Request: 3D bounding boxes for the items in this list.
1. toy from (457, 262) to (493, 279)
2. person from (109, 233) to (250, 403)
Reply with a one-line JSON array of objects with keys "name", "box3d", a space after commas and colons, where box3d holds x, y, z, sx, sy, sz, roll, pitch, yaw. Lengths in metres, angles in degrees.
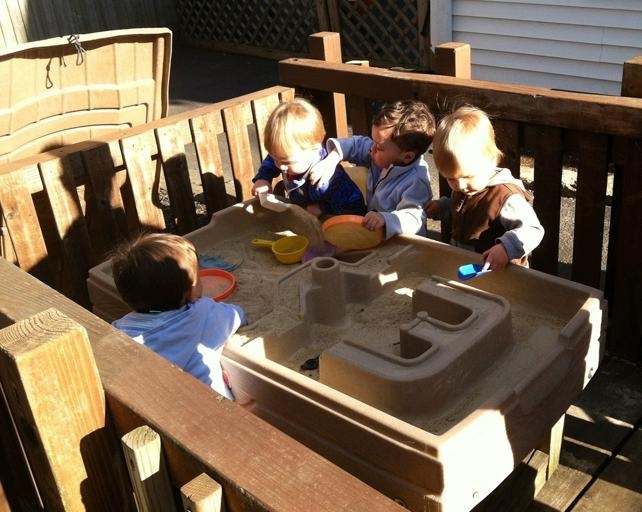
[{"name": "toy", "box3d": [0.594, 0.052, 2.091, 0.127, 0.031, 0.063, -12, 48, -30]}, {"name": "person", "box3d": [-0.548, 0.233, 2.089, 0.420, 0.844, 0.397, 23, 53, 15]}]
